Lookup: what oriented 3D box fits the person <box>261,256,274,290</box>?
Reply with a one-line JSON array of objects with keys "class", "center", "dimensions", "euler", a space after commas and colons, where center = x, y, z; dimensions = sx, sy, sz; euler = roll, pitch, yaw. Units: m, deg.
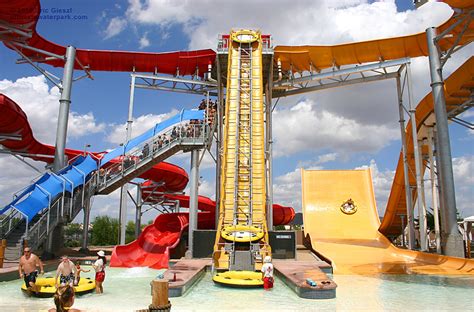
[{"class": "person", "center": [1.274, 4.937, 15.820], "dimensions": [0.493, 1.308, 0.701], "euler": [-2, -13, 2]}]

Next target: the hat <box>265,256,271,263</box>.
[{"class": "hat", "center": [1.317, 4.469, 16.194], "dimensions": [0.284, 0.298, 0.333], "euler": [1, 16, 2]}]

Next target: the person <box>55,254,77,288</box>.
[{"class": "person", "center": [-6.657, 4.796, 14.632], "dimensions": [0.799, 1.621, 0.576], "euler": [-4, -5, -15]}]

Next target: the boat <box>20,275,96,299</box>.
[{"class": "boat", "center": [-7.236, 5.270, 14.896], "dimensions": [2.659, 0.576, 2.461], "euler": [0, -6, 3]}]

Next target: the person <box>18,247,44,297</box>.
[{"class": "person", "center": [-8.139, 4.569, 14.791], "dimensions": [0.808, 1.842, 0.864], "euler": [7, -15, -32]}]

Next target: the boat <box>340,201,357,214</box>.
[{"class": "boat", "center": [8.091, 3.797, 27.486], "dimensions": [0.884, 0.428, 1.152], "euler": [-1, 27, 4]}]

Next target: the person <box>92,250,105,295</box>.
[{"class": "person", "center": [-5.751, 4.845, 15.627], "dimensions": [0.429, 1.665, 1.428], "euler": [2, -13, -16]}]

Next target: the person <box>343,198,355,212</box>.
[{"class": "person", "center": [8.137, 3.738, 27.304], "dimensions": [0.821, 0.839, 0.352], "euler": [18, -13, 4]}]
